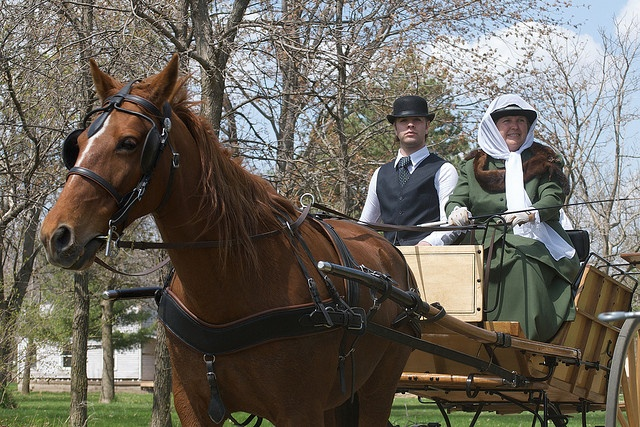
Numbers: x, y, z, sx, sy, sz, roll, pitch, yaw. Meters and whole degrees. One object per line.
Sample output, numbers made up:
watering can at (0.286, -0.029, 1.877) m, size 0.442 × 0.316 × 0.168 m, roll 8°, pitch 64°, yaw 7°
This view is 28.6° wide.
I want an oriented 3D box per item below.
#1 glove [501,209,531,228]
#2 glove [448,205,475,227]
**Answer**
glove at (3.416, 0.060, 21.313) m, size 0.379 × 0.101 × 0.286 m, roll -13°, pitch 33°, yaw -16°
glove at (2.397, 0.018, 21.263) m, size 0.348 × 0.312 × 0.153 m, roll -1°, pitch -6°, yaw 24°
